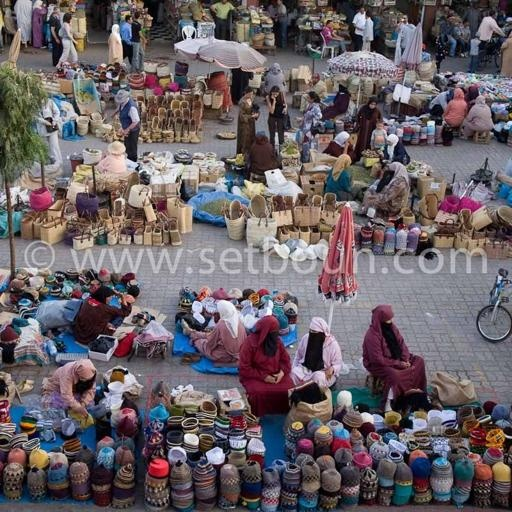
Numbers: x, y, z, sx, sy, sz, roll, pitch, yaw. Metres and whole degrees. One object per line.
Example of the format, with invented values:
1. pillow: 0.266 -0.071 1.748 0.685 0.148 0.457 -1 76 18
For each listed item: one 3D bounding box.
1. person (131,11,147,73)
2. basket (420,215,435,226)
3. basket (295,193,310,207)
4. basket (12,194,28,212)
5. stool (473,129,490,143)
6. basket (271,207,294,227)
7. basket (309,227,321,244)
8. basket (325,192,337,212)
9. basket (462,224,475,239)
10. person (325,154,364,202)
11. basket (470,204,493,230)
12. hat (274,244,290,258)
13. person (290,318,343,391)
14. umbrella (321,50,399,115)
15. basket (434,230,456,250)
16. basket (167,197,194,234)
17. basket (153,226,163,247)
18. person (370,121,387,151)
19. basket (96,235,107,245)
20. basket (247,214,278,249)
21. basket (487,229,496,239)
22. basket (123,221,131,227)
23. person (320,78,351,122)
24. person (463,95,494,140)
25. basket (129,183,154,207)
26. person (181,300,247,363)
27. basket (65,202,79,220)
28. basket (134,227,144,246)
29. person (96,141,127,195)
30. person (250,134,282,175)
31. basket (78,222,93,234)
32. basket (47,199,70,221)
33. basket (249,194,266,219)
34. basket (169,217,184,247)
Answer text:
1. person: -4.232 -7.508 17.609 0.446 1.648 0.709 -2 24 -13
2. basket: 3.380 -0.713 9.885 0.118 0.193 0.343 -15 28 -37
3. basket: 0.902 -1.109 9.711 0.295 0.256 0.456 4 -17 1
4. basket: -4.511 -1.041 9.444 0.272 0.272 0.269 -7 24 -24
5. stool: 6.705 -3.570 14.722 0.378 0.337 0.355 2 36 4
6. basket: 0.493 -0.723 9.265 0.377 0.326 0.118 -7 31 -11
7. basket: 1.108 -0.383 9.312 0.241 0.412 0.222 -2 44 -1
8. basket: 1.462 -1.106 9.992 0.317 0.422 0.356 2 31 5
9. basket: 4.026 -0.486 9.410 0.175 0.235 0.213 -6 24 -21
10. person: 1.900 -1.638 10.805 0.703 1.139 0.930 21 28 36
11. basket: 4.308 -0.724 9.485 0.470 0.433 0.283 -6 25 -23
12. hat: 0.464 -0.096 9.124 0.301 0.240 0.182 3 22 -2
13. person: 0.702 1.183 5.889 0.624 0.797 0.632 -4 7 -42
14. umbrella: 3.006 -5.172 14.404 1.560 1.323 1.543 0 27 -8
15. basket: 3.580 -0.322 9.626 0.473 0.408 0.296 0 26 0
16. basket: -1.503 -0.767 9.638 0.245 0.580 0.617 -20 38 -33
17. basket: -1.860 -0.377 9.324 0.188 0.324 0.186 4 23 1
18. person: 3.119 -3.090 12.569 0.358 0.751 1.144 6 22 6
19. basket: -2.850 -0.297 9.192 0.193 0.178 0.179 2 34 -7
20. basket: 0.061 -0.453 9.211 0.715 0.671 0.405 -1 40 -4
21. basket: 4.495 -0.435 9.463 0.182 0.136 0.241 14 24 24
22. basket: -2.459 -0.611 9.390 0.117 0.104 0.113 3 3 1
23. person: 2.187 -4.418 13.944 0.646 1.052 0.518 3 47 2
24. person: 6.701 -4.220 14.769 0.863 1.160 0.839 -15 24 -23
25. basket: -2.246 -1.221 9.499 0.448 0.471 0.436 -19 51 -24
26. person: -0.529 0.913 6.700 0.686 0.610 0.924 -8 23 -30
27. basket: -3.542 -0.857 9.433 0.248 0.108 0.320 -2 57 -10
28. basket: -2.227 -0.384 9.332 0.202 0.278 0.247 -2 23 -13
29. person: -2.935 -1.842 9.974 0.643 0.943 0.686 -3 23 -15
30. person: 0.158 -2.331 11.223 0.768 0.922 0.542 5 33 12
31. basket: -3.131 -0.509 9.135 0.251 0.170 0.223 -4 -1 0
32. basket: -3.759 -0.865 9.377 0.206 0.317 0.338 39 41 17
33. basket: 0.045 -0.947 9.344 0.286 0.476 0.177 0 -1 -5
34. basket: -1.522 -0.473 9.427 0.203 0.221 0.553 -1 58 -8
